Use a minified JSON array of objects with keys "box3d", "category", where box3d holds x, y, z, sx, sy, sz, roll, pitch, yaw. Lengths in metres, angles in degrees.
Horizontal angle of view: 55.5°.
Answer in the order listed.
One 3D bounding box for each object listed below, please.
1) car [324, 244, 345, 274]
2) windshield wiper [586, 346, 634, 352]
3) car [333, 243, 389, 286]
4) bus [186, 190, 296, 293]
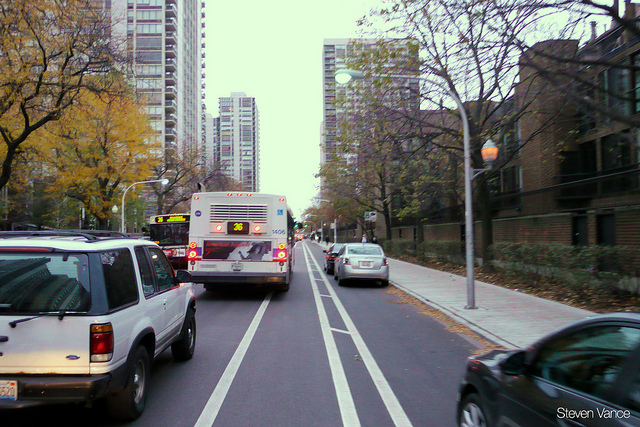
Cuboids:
[{"box3d":[0.651,2.023,26.801,1.344,1.082,2.972,0,2,0],"category":"car"},{"box3d":[4.644,2.169,9.681,0.565,0.047,0.014,0,6,27],"category":"windshield wiper"},{"box3d":[1.524,2.058,23.618,2.225,1.655,1.611,2,7,43],"category":"car"},{"box3d":[-2.527,0.888,21.472,2.603,2.249,4.330,1,-1,0],"category":"bus"}]
